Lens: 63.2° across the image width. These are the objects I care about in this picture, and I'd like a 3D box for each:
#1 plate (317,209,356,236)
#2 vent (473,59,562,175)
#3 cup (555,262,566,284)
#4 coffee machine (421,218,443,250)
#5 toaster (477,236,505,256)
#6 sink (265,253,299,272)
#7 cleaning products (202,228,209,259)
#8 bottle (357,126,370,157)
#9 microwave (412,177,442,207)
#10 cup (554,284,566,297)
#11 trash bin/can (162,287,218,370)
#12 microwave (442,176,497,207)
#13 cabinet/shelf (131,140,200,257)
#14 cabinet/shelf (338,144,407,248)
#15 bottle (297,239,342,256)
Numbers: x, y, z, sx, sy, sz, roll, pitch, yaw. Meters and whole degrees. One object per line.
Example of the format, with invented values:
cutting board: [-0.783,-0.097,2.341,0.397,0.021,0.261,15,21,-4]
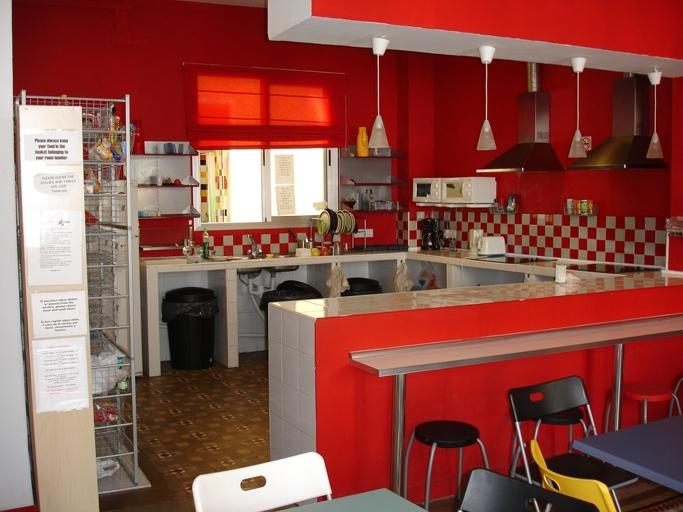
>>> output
plate: [-0.059,-0.414,6.880,0.526,0.337,0.251,-4,7,-31]
vent: [2.029,-1.533,6.013,0.924,1.238,0.909,8,14,44]
cup: [1.694,0.136,4.271,0.083,0.135,0.164,2,6,22]
coffee machine: [1.196,-0.287,7.377,0.312,0.391,0.215,0,6,9]
toaster: [1.742,-0.111,6.455,0.369,0.283,0.200,-1,10,-13]
sink: [-0.712,0.100,6.585,0.290,0.095,0.226,-6,10,-36]
cleaning products: [-1.588,-0.145,6.423,0.086,0.305,0.430,-2,6,-14]
bottle: [0.275,-1.487,7.255,0.149,0.368,0.153,-1,6,0]
microwave: [1.082,-0.829,7.130,0.307,0.368,0.526,0,2,-24]
cup: [1.549,0.249,3.930,0.047,0.082,0.045,3,9,0]
trash bin/can: [-1.684,0.776,6.365,0.778,1.004,0.796,0,2,-27]
microwave: [1.572,-0.782,6.743,0.379,0.297,0.538,-2,4,-27]
cabinet/shelf: [-2.010,-0.658,6.340,0.740,1.311,0.259,-3,6,-22]
cabinet/shelf: [0.338,-0.735,7.276,0.783,1.322,0.349,-4,10,-36]
bottle: [-0.272,-0.077,6.795,0.421,0.154,0.245,0,2,-6]
